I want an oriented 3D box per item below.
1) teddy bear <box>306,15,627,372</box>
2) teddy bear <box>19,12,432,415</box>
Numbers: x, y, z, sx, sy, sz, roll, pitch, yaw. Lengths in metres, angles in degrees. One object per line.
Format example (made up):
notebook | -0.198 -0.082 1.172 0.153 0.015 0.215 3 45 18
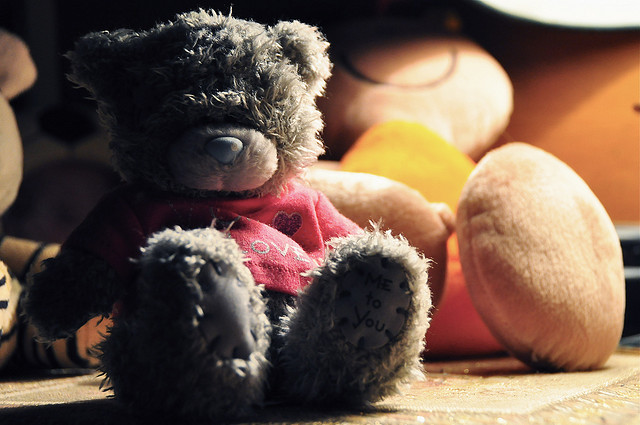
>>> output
teddy bear | 0.464 -0.042 2.394 0.658 0.370 0.879 -8 26 -34
teddy bear | -0.142 -0.050 2.135 1.035 0.980 0.844 3 -11 -30
